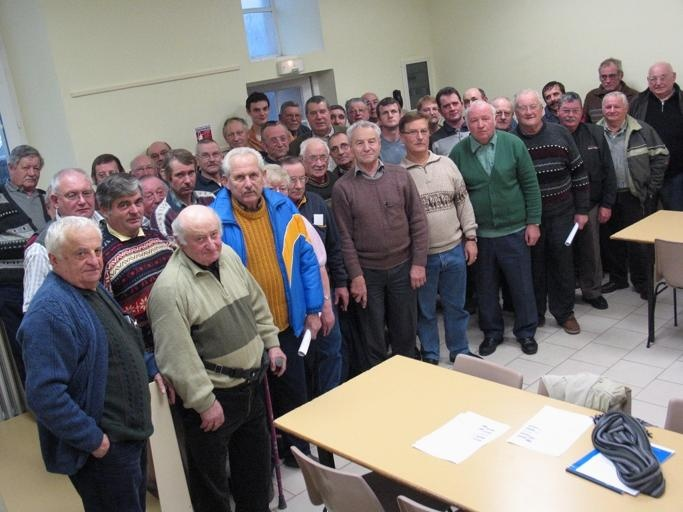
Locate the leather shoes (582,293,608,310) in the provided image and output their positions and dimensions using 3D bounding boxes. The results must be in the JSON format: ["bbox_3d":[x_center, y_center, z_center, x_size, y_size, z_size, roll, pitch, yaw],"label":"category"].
[{"bbox_3d":[2.489,0.456,5.526,0.102,0.118,0.258,-33,35,-29],"label":"leather shoes"}]

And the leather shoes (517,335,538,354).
[{"bbox_3d":[1.632,0.774,4.903,0.079,0.099,0.224,-8,15,-9],"label":"leather shoes"}]

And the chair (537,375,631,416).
[{"bbox_3d":[1.237,0.680,2.823,0.326,0.116,0.236,12,23,39],"label":"chair"}]

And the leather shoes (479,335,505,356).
[{"bbox_3d":[1.340,0.793,4.994,0.101,0.145,0.311,9,20,34],"label":"leather shoes"}]

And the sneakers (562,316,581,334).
[{"bbox_3d":[2.092,0.635,5.098,0.082,0.095,0.215,-8,18,-2],"label":"sneakers"}]

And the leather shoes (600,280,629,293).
[{"bbox_3d":[2.802,0.317,5.755,0.315,0.137,0.116,0,9,-10],"label":"leather shoes"}]
